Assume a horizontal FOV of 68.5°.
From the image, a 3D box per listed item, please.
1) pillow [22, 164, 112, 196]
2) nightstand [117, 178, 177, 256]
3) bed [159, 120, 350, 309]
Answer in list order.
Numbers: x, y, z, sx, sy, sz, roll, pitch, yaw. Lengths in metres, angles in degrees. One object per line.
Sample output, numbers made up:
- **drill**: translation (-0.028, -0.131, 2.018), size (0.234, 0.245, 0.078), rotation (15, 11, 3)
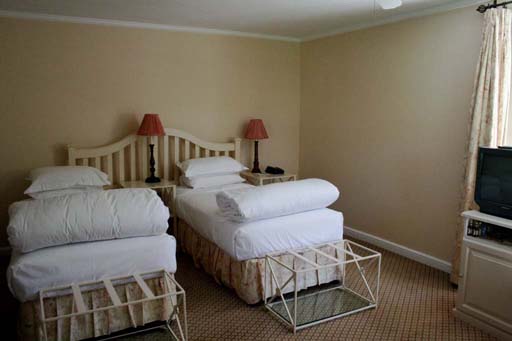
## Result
- **pillow**: translation (-2.250, 0.102, 4.499), size (0.535, 0.143, 0.526), rotation (-10, 16, -30)
- **nightstand**: translation (-1.514, 0.696, 5.154), size (0.857, 0.978, 1.031), rotation (-2, 1, -11)
- **bed**: translation (-0.278, 0.256, 5.041), size (1.594, 1.753, 2.536), rotation (-7, 15, -29)
